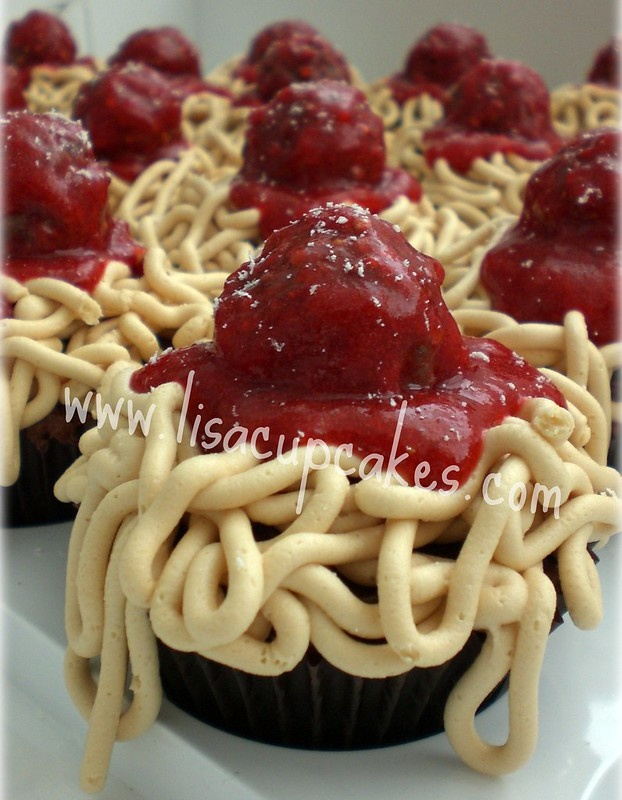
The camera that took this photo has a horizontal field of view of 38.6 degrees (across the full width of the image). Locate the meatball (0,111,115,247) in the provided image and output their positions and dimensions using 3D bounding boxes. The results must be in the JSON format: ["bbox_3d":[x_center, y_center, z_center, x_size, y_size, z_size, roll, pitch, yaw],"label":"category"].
[{"bbox_3d":[-0.418,-0.345,1.457,0.247,0.197,0.206,-5,37,-21],"label":"meatball"}]

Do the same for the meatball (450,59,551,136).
[{"bbox_3d":[0.432,-0.677,2.059,0.218,0.112,0.203,14,17,-41],"label":"meatball"}]

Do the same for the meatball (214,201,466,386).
[{"bbox_3d":[0.042,-0.153,1.112,0.350,0.172,0.313,0,23,-12],"label":"meatball"}]

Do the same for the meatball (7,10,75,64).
[{"bbox_3d":[-0.933,-1.246,3.096,0.203,0.172,0.238,9,14,-17],"label":"meatball"}]

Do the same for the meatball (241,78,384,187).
[{"bbox_3d":[-0.002,-0.531,1.752,0.270,0.140,0.242,-12,33,-22],"label":"meatball"}]
